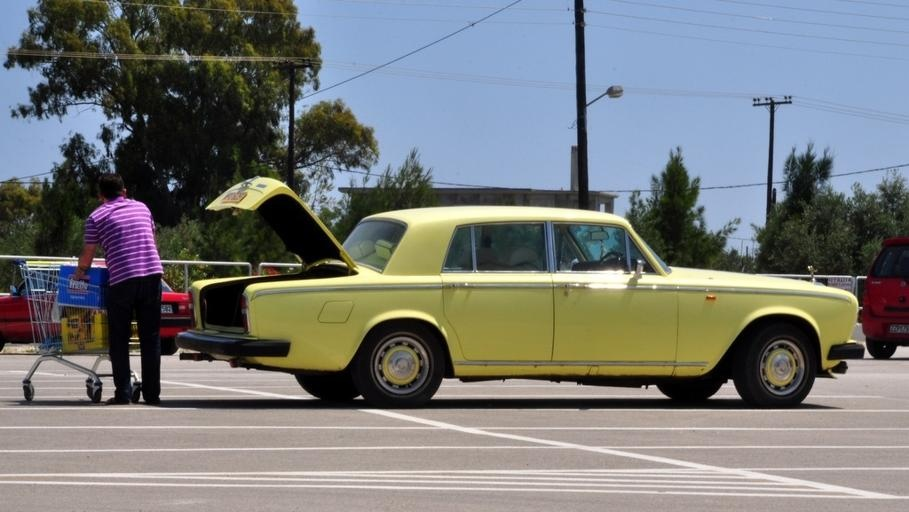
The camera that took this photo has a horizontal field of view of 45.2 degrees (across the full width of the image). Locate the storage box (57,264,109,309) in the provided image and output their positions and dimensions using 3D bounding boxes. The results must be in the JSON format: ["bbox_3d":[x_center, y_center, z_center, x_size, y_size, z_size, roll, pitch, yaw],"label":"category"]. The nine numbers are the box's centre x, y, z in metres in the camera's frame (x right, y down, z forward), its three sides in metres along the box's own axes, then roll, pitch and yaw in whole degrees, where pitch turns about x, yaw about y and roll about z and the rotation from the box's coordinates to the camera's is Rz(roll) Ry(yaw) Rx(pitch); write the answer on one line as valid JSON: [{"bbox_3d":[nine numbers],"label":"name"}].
[{"bbox_3d":[-5.792,0.415,17.051,0.677,0.557,0.693,3,1,8],"label":"storage box"}]

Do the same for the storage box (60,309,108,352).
[{"bbox_3d":[-5.793,1.152,17.049,0.661,0.725,0.683,0,-1,-25],"label":"storage box"}]

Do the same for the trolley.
[{"bbox_3d":[-6.318,1.199,17.338,1.589,2.058,1.177,2,-10,-22],"label":"trolley"}]

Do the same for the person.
[{"bbox_3d":[-5.166,0.526,17.038,1.132,3.520,0.801,0,8,-8],"label":"person"}]
